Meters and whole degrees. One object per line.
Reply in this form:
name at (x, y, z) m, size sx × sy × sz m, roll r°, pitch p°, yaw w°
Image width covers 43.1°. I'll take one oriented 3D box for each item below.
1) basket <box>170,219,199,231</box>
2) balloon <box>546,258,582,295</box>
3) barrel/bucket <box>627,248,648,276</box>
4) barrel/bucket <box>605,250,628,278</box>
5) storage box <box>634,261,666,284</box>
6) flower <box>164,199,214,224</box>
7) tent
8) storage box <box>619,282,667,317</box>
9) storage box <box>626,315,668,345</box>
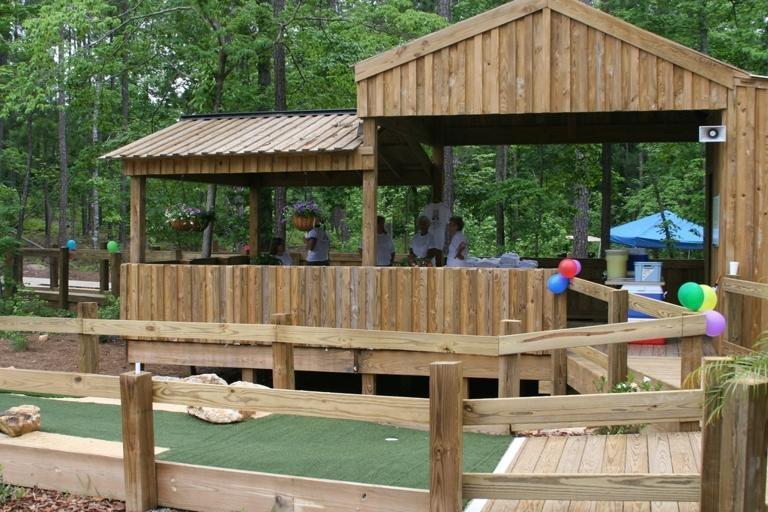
basket at (-4.356, -0.668, 21.221) m, size 0.530 × 0.193 × 0.593 m, roll 0°, pitch 1°, yaw -12°
balloon at (2.961, 0.353, 15.932) m, size 0.320 × 0.579 × 0.625 m, roll -1°, pitch 2°, yaw -28°
barrel/bucket at (4.784, 0.125, 18.305) m, size 0.423 × 0.445 × 0.442 m, roll 0°, pitch 2°, yaw 0°
barrel/bucket at (4.390, 0.176, 18.387) m, size 0.481 × 0.634 × 0.457 m, roll 1°, pitch -5°, yaw 0°
storage box at (4.873, 0.311, 17.866) m, size 0.496 × 0.391 × 0.239 m, roll 0°, pitch 2°, yaw 15°
flower at (-4.294, -0.936, 21.405) m, size 0.839 × 0.462 × 0.993 m, roll 1°, pitch 2°, yaw 40°
tent at (8.851, -0.699, 31.073) m, size 2.616 × 1.095 × 2.699 m, roll -1°, pitch -1°, yaw 31°
storage box at (4.777, 0.699, 17.830) m, size 0.876 × 0.906 × 0.884 m, roll 1°, pitch 1°, yaw -4°
storage box at (3.820, 1.085, 14.052) m, size 0.606 × 0.420 × 0.650 m, roll -2°, pitch 1°, yaw 9°
